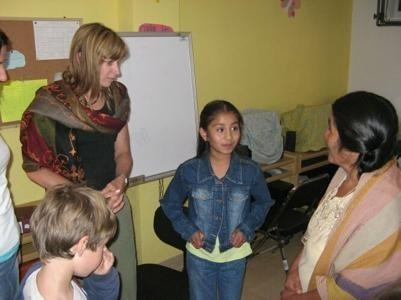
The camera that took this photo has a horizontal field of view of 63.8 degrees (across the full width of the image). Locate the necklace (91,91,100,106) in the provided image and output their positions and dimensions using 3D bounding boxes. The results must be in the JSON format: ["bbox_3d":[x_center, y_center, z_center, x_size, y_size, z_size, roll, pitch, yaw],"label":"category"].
[{"bbox_3d":[-0.568,-0.275,1.740,0.046,0.066,0.059,3,-4,-3],"label":"necklace"}]
